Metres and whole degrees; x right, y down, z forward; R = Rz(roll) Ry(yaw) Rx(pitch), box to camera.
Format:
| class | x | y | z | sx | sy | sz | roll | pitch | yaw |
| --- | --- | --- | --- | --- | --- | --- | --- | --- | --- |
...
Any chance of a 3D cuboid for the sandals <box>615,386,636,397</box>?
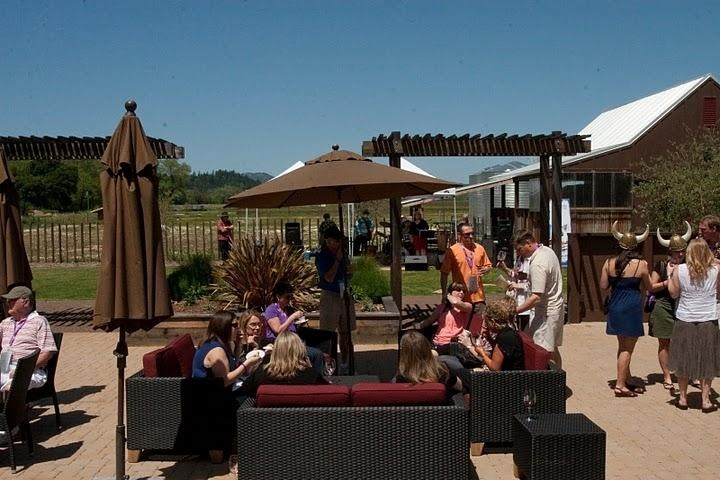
| class | x | y | z | sx | sy | sz | roll | pitch | yaw |
| --- | --- | --- | --- | --- | --- | --- | --- | --- | --- |
| sandals | 4.156 | 2.391 | 11.136 | 0.314 | 0.138 | 0.133 | -2 | 3 | -1 |

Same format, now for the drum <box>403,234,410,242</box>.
| class | x | y | z | sx | sy | sz | roll | pitch | yaw |
| --- | --- | --- | --- | --- | --- | --- | --- | --- | --- |
| drum | 1.816 | -0.063 | 27.817 | 0.237 | 0.490 | 0.248 | 2 | -6 | 0 |

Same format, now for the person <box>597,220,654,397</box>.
| class | x | y | z | sx | sy | sz | roll | pitch | yaw |
| --- | --- | --- | --- | --- | --- | --- | --- | --- | --- |
| person | 4.175 | 1.162 | 11.171 | 0.675 | 2.564 | 0.548 | -2 | 2 | 1 |

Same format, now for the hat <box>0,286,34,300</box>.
| class | x | y | z | sx | sy | sz | roll | pitch | yaw |
| --- | --- | --- | --- | --- | --- | --- | --- | --- | --- |
| hat | -4.885 | 0.772 | 10.077 | 0.367 | 0.199 | 0.278 | 5 | -7 | -21 |

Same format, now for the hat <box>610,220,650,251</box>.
| class | x | y | z | sx | sy | sz | roll | pitch | yaw |
| --- | --- | --- | --- | --- | --- | --- | --- | --- | --- |
| hat | 6.677 | -0.146 | 17.692 | 0.899 | 0.678 | 0.578 | 5 | 12 | 18 |

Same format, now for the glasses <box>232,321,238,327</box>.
| class | x | y | z | sx | sy | sz | roll | pitch | yaw |
| --- | --- | --- | --- | --- | --- | --- | --- | --- | --- |
| glasses | -1.662 | 1.119 | 9.396 | 0.061 | 0.065 | 0.064 | -1 | -4 | -4 |
